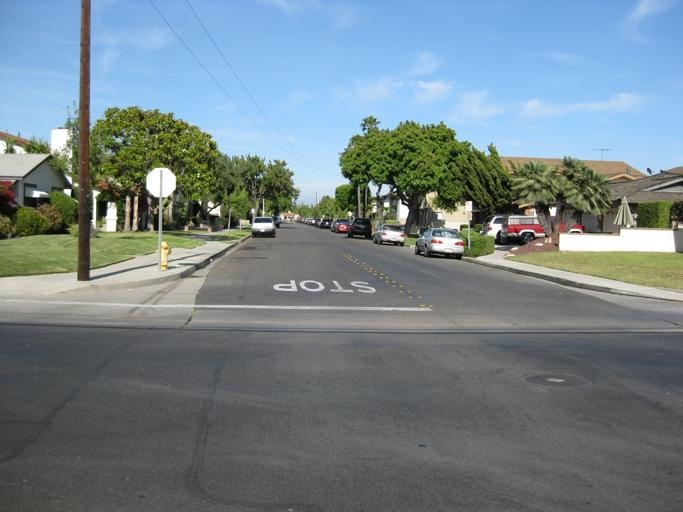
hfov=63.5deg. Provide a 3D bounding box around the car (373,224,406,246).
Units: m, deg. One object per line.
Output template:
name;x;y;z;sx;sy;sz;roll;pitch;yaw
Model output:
car;4.005;-1.770;45.645;1.773;1.632;2.839;-2;5;-31

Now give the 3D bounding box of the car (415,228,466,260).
car;5.899;-0.793;33.147;1.855;1.758;3.130;-1;4;-23

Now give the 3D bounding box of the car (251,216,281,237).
car;-7.587;-2.848;54.038;2.214;1.894;2.534;0;4;-14

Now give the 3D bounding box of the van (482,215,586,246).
van;13.788;-2.012;43.257;2.723;2.375;8.040;-1;4;-16
